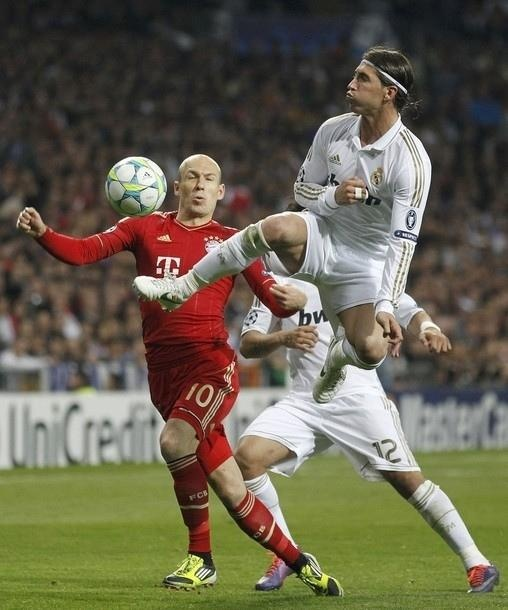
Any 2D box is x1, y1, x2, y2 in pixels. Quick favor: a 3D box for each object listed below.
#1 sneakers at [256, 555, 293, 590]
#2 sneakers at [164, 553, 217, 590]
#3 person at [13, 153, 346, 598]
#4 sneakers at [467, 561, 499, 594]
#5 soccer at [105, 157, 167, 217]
[{"bbox_3d":[0.101,1.343,4.653,0.088,0.105,0.254,-6,-9,21],"label":"sneakers"},{"bbox_3d":[-0.302,1.282,4.531,0.112,0.110,0.314,-5,-11,37],"label":"sneakers"},{"bbox_3d":[-0.362,0.341,4.605,1.118,2.112,1.190,-6,14,-14],"label":"person"},{"bbox_3d":[1.076,1.281,4.404,0.138,0.152,0.088,14,27,-6],"label":"sneakers"},{"bbox_3d":[-0.577,-0.596,4.857,0.393,0.289,0.326,1,-1,-2],"label":"soccer"}]
